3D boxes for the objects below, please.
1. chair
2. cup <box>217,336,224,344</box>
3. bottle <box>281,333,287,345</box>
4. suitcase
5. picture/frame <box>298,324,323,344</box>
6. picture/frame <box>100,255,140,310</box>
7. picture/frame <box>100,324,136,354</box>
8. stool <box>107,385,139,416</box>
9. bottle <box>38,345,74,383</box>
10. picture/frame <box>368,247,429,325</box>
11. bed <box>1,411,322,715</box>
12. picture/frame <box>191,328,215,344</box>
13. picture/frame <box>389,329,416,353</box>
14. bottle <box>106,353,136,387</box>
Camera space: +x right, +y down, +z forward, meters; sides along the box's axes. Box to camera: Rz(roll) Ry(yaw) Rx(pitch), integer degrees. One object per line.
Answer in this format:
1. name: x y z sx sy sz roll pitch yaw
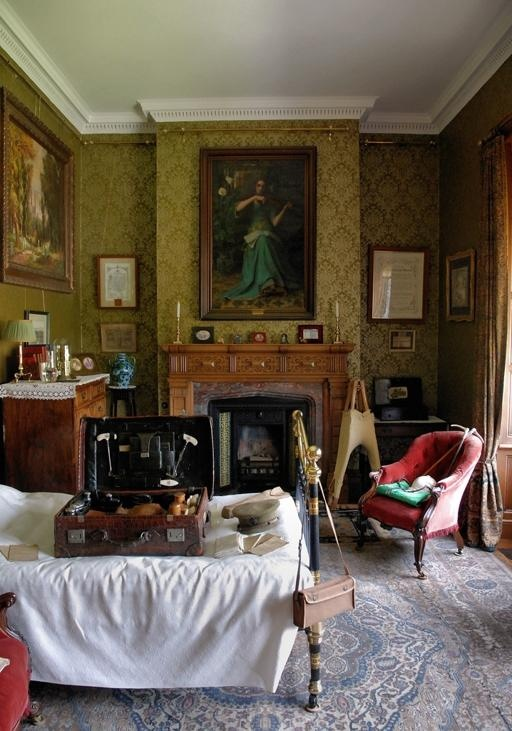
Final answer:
1. chair: 1.264 0.915 4.087 0.990 1.067 0.810 4 -4 -35
2. cup: -0.344 -0.230 5.444 0.068 0.030 0.077 3 30 -2
3. bottle: 0.267 -0.251 5.400 0.077 0.121 0.078 0 6 0
4. suitcase: -0.589 0.563 2.837 0.638 0.585 0.637 0 -4 0
5. picture/frame: 0.520 -0.299 5.402 0.175 0.153 0.061 0 -5 -1
6. picture/frame: -1.422 -0.884 5.845 0.543 0.749 0.072 0 4 -3
7. picture/frame: -1.437 -0.293 5.897 0.299 0.261 0.033 0 4 -1
8. stool: -1.283 0.325 5.487 0.338 0.422 0.339 0 -2 -3
9. bottle: -1.624 -0.005 4.473 0.229 0.397 0.389 1 -4 -29
10. picture/frame: 1.454 -0.829 5.811 0.617 0.766 0.047 0 5 -7
11. bed: -0.359 0.845 2.434 1.212 0.306 1.236 0 10 3
12. picture/frame: -0.522 -0.292 5.448 0.216 0.144 0.116 -1 5 -5
13. picture/frame: 1.518 -0.264 5.849 0.226 0.221 0.024 0 5 -1
14. bottle: -1.298 0.059 5.436 0.332 0.420 0.303 0 -3 0
